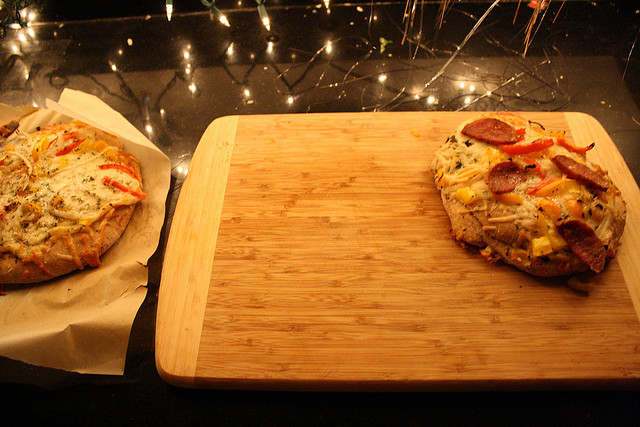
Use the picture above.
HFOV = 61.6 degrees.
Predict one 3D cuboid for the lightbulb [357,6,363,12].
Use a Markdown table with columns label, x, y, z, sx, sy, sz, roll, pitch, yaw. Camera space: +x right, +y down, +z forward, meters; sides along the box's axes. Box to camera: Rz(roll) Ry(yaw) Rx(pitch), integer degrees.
| label | x | y | z | sx | sy | sz | roll | pitch | yaw |
| --- | --- | --- | --- | --- | --- | --- | --- | --- | --- |
| lightbulb | 0.241 | -1.200 | 3.160 | 0.029 | 0.013 | 0.026 | -11 | 77 | -8 |

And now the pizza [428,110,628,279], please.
| label | x | y | z | sx | sy | sz | roll | pitch | yaw |
| --- | --- | --- | --- | --- | --- | --- | --- | --- | --- |
| pizza | 0.914 | -0.081 | 2.488 | 0.790 | 0.243 | 0.795 | -29 | 64 | -7 |
